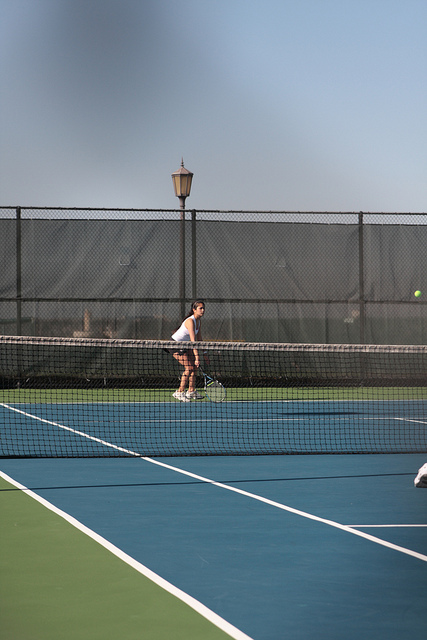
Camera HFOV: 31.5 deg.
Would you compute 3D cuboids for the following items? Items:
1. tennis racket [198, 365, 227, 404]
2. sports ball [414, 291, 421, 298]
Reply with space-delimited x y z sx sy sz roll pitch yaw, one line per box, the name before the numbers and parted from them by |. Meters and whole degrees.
tennis racket | 0.013 1.008 11.289 0.065 0.250 0.863 -3 24 -19
sports ball | 3.885 -0.496 14.351 0.092 0.096 0.094 -4 9 1
